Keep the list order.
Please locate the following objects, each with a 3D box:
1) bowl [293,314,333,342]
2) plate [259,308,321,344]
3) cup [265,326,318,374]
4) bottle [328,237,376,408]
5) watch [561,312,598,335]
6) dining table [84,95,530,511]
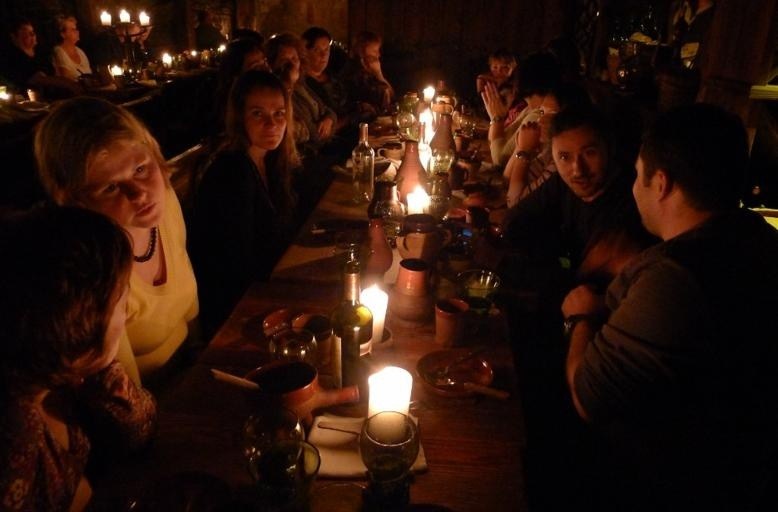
[{"bbox_3d":[-0.310,0.281,2.321,0.134,0.089,0.119,10,33,11],"label":"bowl"},{"bbox_3d":[-0.456,0.280,2.389,0.136,0.033,0.187,5,24,29],"label":"plate"},{"bbox_3d":[-0.371,0.398,2.319,0.210,0.158,0.213,-9,8,1],"label":"cup"},{"bbox_3d":[-0.140,0.290,2.231,0.172,0.633,0.156,2,25,-1],"label":"bottle"},{"bbox_3d":[0.838,0.296,2.530,0.105,0.100,0.075,-8,31,1],"label":"watch"},{"bbox_3d":[-0.159,0.386,2.082,0.926,0.449,1.866,1,30,-1],"label":"dining table"}]
